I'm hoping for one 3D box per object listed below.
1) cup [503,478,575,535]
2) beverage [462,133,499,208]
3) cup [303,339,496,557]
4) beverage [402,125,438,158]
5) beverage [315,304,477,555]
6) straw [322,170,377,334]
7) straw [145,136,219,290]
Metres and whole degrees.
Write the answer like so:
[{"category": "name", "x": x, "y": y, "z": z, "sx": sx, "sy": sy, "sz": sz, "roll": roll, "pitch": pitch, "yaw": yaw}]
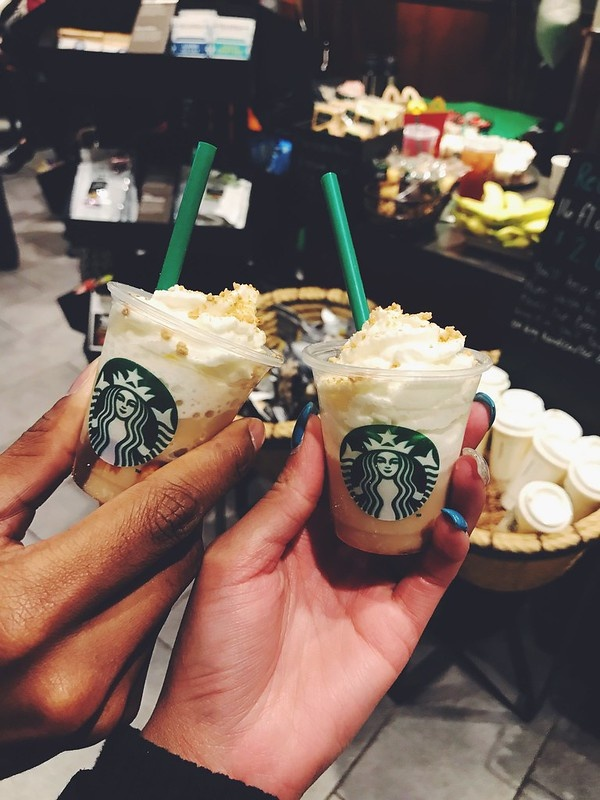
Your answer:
[{"category": "cup", "x": 0.586, "y": 0.261, "z": 1.630, "sx": 0.123, "sy": 0.126, "sz": 0.124, "roll": 30, "pitch": -13, "yaw": 7}, {"category": "beverage", "x": 0.617, "y": -0.811, "z": 2.363, "sx": 0.116, "sy": 0.161, "sz": 0.224, "roll": 11, "pitch": 34, "yaw": 11}, {"category": "cup", "x": 0.169, "y": 0.080, "z": 1.475, "sx": 0.438, "sy": 0.398, "sz": 0.412, "roll": 3, "pitch": 11, "yaw": -1}, {"category": "beverage", "x": 0.438, "y": -0.970, "z": 2.575, "sx": 0.157, "sy": 0.116, "sz": 0.164, "roll": -4, "pitch": 31, "yaw": -6}, {"category": "beverage", "x": 0.175, "y": 0.050, "z": 1.472, "sx": 0.478, "sy": 0.541, "sz": 0.448, "roll": 1, "pitch": 10, "yaw": 0}, {"category": "straw", "x": 0.100, "y": -0.328, "z": 1.482, "sx": 0.035, "sy": 0.337, "sz": 0.034, "roll": -12, "pitch": 3, "yaw": 11}, {"category": "straw", "x": -0.238, "y": -0.383, "z": 1.406, "sx": 0.034, "sy": 0.325, "sz": 0.032, "roll": 18, "pitch": -9, "yaw": -25}]
